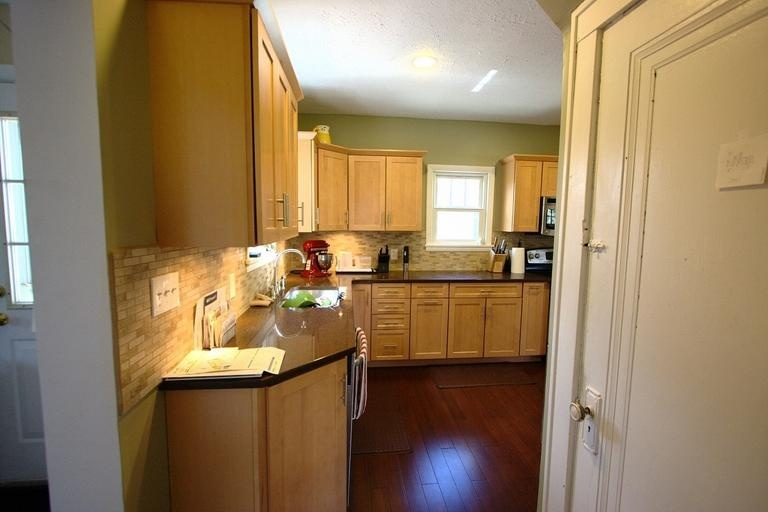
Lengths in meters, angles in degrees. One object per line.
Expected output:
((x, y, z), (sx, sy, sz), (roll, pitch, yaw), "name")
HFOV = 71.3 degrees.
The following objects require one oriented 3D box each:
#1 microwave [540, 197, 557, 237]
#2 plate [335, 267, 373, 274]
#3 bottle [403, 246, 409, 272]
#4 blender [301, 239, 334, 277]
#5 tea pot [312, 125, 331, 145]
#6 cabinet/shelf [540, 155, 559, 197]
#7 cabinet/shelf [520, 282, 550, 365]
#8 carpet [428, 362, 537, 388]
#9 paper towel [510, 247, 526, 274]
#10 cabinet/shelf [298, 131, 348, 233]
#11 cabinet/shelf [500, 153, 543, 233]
((1.503, -0.378, 4.927), (0.129, 0.356, 0.275), (3, 6, 15), "microwave")
((-0.277, 0.122, 4.773), (0.344, 0.037, 0.233), (0, 5, -17), "plate")
((0.207, 0.012, 5.028), (0.059, 0.222, 0.137), (2, 5, 5), "bottle")
((-0.534, 0.019, 4.367), (0.273, 0.310, 0.233), (0, 6, -18), "blender")
((-0.507, -1.021, 4.483), (0.194, 0.186, 0.146), (-4, 7, -33), "tea pot")
((1.528, -0.736, 4.887), (0.187, 0.366, 0.095), (-1, 6, -29), "cabinet/shelf")
((1.306, 0.555, 4.674), (0.224, 0.691, 0.159), (3, 6, 14), "cabinet/shelf")
((0.859, 0.985, 4.427), (0.990, 0.065, 0.490), (1, 5, -9), "carpet")
((1.228, 0.036, 4.909), (0.113, 0.228, 0.093), (3, 6, 8), "paper towel")
((-0.519, -0.615, 4.429), (0.472, 0.853, 0.923), (-1, 2, -4), "cabinet/shelf")
((1.237, -0.583, 4.964), (0.413, 0.684, 0.250), (5, 6, 28), "cabinet/shelf")
